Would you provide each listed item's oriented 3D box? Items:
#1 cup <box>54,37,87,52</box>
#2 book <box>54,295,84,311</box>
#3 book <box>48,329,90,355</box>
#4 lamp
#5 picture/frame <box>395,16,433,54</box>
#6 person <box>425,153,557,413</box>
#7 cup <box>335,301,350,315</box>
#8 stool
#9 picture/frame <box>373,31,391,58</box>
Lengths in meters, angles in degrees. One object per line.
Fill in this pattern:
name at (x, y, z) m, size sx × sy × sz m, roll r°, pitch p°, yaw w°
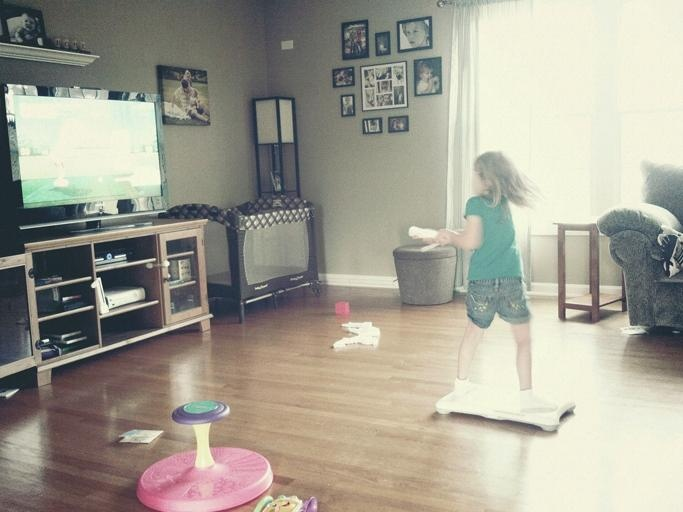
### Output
cup at (-1.995, -1.557, 4.081) m, size 0.228 × 0.122 × 0.204 m, roll -10°, pitch 13°, yaw -34°
book at (-1.768, 0.306, 3.599) m, size 0.106 × 0.049 × 0.196 m, roll 3°, pitch -1°, yaw 1°
book at (-1.811, 0.565, 3.644) m, size 0.200 × 0.104 × 0.246 m, roll -2°, pitch 11°, yaw 3°
lamp at (-0.692, -1.130, 5.799) m, size 0.449 × 1.037 × 0.533 m, roll 1°, pitch 11°, yaw 18°
picture/frame at (0.710, -2.127, 5.313) m, size 0.364 × 0.321 × 0.028 m, roll 5°, pitch 13°, yaw 30°
person at (0.774, 0.117, 2.825) m, size 0.555 × 1.266 × 0.348 m, roll 0°, pitch 11°, yaw 11°
cup at (0.001, 0.450, 4.808) m, size 0.094 × 0.097 × 0.097 m, roll 1°, pitch 8°, yaw 0°
stool at (0.746, 0.177, 4.961) m, size 0.506 × 0.448 × 0.520 m, roll -3°, pitch 2°, yaw -3°
picture/frame at (0.403, -2.095, 5.462) m, size 0.237 × 0.343 × 0.028 m, roll 6°, pitch 12°, yaw 32°
